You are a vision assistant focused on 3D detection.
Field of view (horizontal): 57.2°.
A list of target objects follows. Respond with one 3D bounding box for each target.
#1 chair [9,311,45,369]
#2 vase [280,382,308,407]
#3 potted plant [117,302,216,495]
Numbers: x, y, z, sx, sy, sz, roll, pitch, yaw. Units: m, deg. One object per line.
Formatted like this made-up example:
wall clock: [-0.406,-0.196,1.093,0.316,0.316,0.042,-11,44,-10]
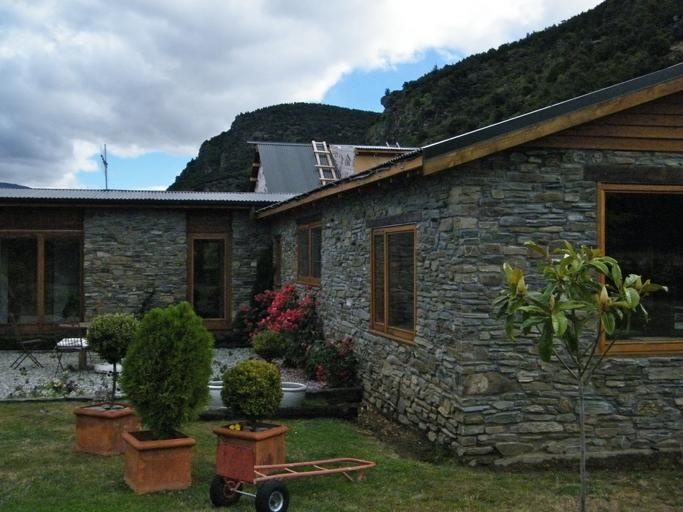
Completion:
chair: [-7.022,1.859,13.996,0.698,1.102,2.785,4,-5,-27]
vase: [-0.803,2.346,10.679,0.613,0.278,0.631,1,-1,-4]
potted plant: [-2.193,1.743,7.921,1.118,2.324,0.503,3,-4,-15]
